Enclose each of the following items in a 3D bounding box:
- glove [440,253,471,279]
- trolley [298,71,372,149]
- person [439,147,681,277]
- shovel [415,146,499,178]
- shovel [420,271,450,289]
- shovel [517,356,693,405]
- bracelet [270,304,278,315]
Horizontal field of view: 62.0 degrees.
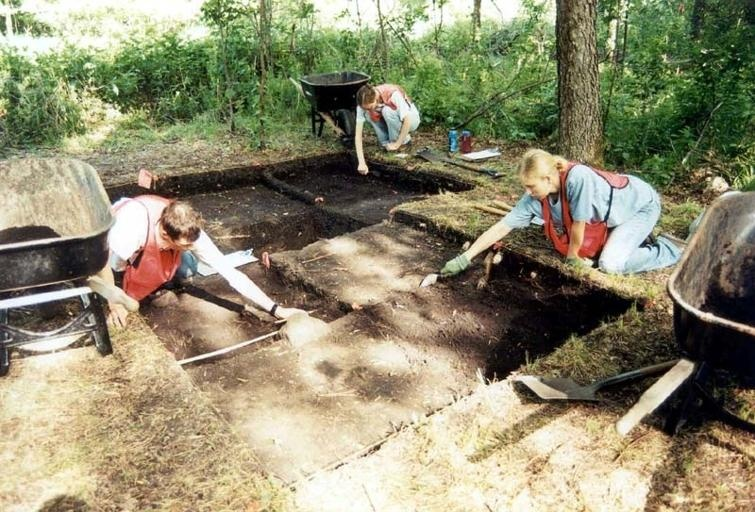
[{"bbox_3d":[0.743,0.091,5.899,0.304,0.174,0.094,-32,-20,23],"label":"glove"},{"bbox_3d":[-0.555,-2.138,9.116,0.879,0.783,1.269,-16,36,-21],"label":"trolley"},{"bbox_3d":[1.496,-0.377,5.693,2.018,0.958,0.894,-16,38,2],"label":"person"},{"bbox_3d":[1.030,-1.195,8.094,0.397,0.102,1.287,-17,23,-30],"label":"shovel"},{"bbox_3d":[0.517,0.228,5.887,0.208,0.056,0.143,-12,23,-1],"label":"shovel"},{"bbox_3d":[1.715,0.912,4.619,1.014,0.167,0.275,-25,-6,9],"label":"shovel"},{"bbox_3d":[-0.900,0.465,5.442,0.059,0.078,0.079,1,14,-9],"label":"bracelet"}]
